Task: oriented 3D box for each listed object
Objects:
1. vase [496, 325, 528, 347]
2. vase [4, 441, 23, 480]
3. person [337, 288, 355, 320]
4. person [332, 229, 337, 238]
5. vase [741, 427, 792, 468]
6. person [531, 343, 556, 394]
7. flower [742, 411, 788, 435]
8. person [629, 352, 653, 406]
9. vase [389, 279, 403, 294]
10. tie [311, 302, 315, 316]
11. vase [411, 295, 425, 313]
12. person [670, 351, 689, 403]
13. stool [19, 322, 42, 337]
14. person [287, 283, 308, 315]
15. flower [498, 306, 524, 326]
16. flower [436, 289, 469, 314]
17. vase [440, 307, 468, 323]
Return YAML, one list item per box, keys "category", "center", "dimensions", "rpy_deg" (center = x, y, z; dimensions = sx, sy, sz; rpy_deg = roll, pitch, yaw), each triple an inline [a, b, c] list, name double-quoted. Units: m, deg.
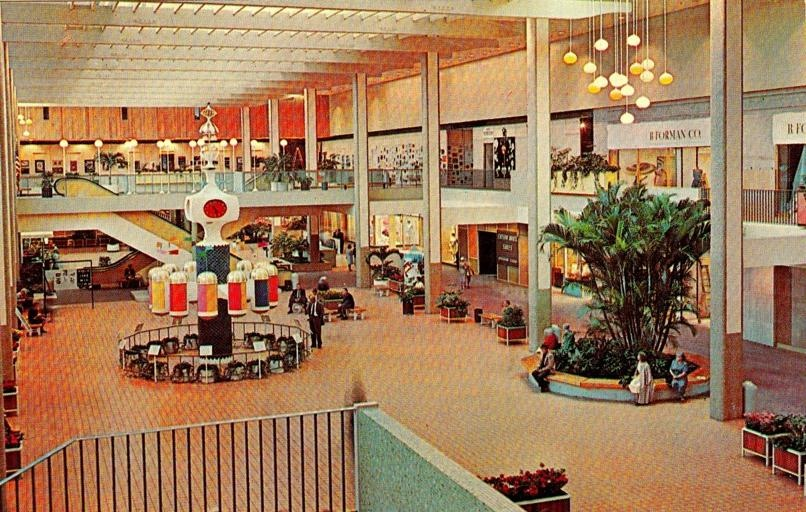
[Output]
- category: "vase"
  center: [3.465, 2.527, 23.808]
  dimensions: [0.648, 0.517, 0.662]
  rpy_deg: [0, 2, -25]
- category: "vase"
  center: [-7.995, 4.149, 15.260]
  dimensions: [0.277, 0.484, 0.287]
  rpy_deg: [-4, 7, -26]
- category: "person"
  center: [-2.161, 1.860, 27.996]
  dimensions: [0.546, 0.998, 0.633]
  rpy_deg: [4, 9, 40]
- category: "person"
  center: [-4.483, -1.462, 48.596]
  dimensions: [0.333, 0.449, 0.795]
  rpy_deg: [-6, 29, 4]
- category: "vase"
  center: [7.511, 3.918, 15.434]
  dimensions: [0.692, 0.551, 0.704]
  rpy_deg: [-2, 2, -25]
- category: "person"
  center: [3.716, 2.941, 19.572]
  dimensions: [0.455, 1.108, 0.698]
  rpy_deg: [5, 9, 42]
- category: "flower"
  center: [7.484, 3.400, 15.440]
  dimensions: [0.450, 0.204, 0.559]
  rpy_deg: [0, 5, -10]
- category: "person"
  center: [5.876, 3.031, 18.390]
  dimensions: [0.475, 1.267, 0.561]
  rpy_deg: [4, 8, 41]
- category: "vase"
  center: [-0.375, 1.350, 32.873]
  dimensions: [0.502, 0.717, 1.003]
  rpy_deg: [-1, 1, -25]
- category: "tie"
  center: [-2.847, 1.723, 23.601]
  dimensions: [0.195, 0.298, 0.084]
  rpy_deg: [-5, -5, 22]
- category: "vase"
  center: [0.559, 1.860, 28.818]
  dimensions: [0.600, 0.428, 0.259]
  rpy_deg: [-3, 12, -22]
- category: "person"
  center: [6.904, 3.010, 18.621]
  dimensions: [0.461, 1.123, 0.545]
  rpy_deg: [2, 7, 27]
- category: "stool"
  center: [-13.263, 2.570, 26.513]
  dimensions: [0.662, 0.718, 0.487]
  rpy_deg: [-2, 6, -11]
- category: "person"
  center: [-4.155, 1.709, 29.324]
  dimensions: [0.996, 1.618, 1.061]
  rpy_deg: [0, 6, -2]
- category: "flower"
  center: [3.448, 1.897, 23.891]
  dimensions: [0.624, 0.574, 0.638]
  rpy_deg: [-3, 12, -16]
- category: "flower"
  center: [1.785, 1.671, 27.303]
  dimensions: [0.896, 0.529, 0.924]
  rpy_deg: [1, 4, -3]
- category: "vase"
  center: [1.853, 2.129, 27.049]
  dimensions: [0.634, 0.418, 0.640]
  rpy_deg: [-1, 4, -30]
